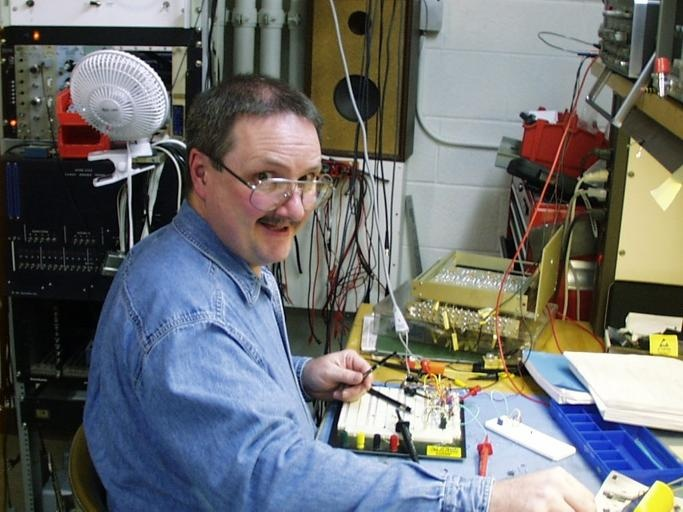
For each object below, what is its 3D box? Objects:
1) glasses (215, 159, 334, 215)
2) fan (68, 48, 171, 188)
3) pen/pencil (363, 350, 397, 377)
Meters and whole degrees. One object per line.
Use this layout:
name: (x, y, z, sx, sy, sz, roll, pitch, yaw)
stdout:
glasses: (-0.140, -0.160, 1.669, 0.147, 0.064, 0.163, -3, 25, -38)
fan: (-0.815, -0.544, 2.462, 0.309, 0.485, 0.306, -1, 47, -9)
pen/pencil: (0.127, 0.369, 2.279, 0.163, 0.026, 0.025, -27, 41, -12)
